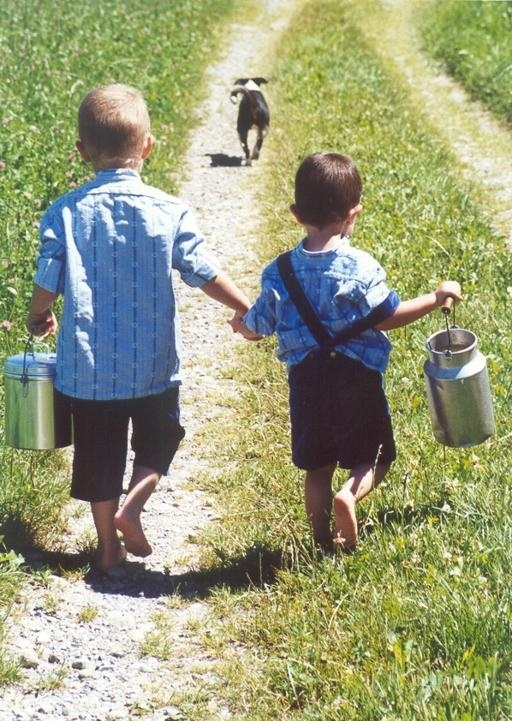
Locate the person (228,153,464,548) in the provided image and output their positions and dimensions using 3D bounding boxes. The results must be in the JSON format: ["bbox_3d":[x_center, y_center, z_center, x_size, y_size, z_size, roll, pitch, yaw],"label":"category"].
[{"bbox_3d":[0.418,-0.019,4.762,0.745,1.692,0.704,-18,24,-28],"label":"person"}]

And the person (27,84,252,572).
[{"bbox_3d":[-0.617,-0.110,4.898,0.618,2.098,0.714,13,28,40],"label":"person"}]
